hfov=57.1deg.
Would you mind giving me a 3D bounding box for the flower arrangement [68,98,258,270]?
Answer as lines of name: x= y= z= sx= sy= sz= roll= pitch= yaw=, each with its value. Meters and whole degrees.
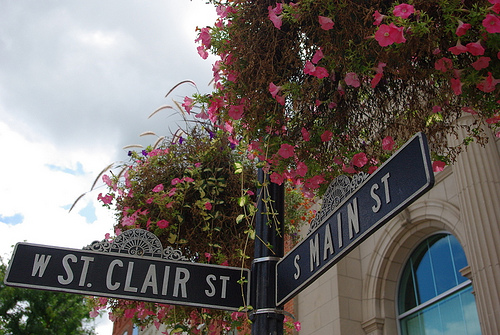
flower arrangement: x=-0.540 y=0.115 z=4.594 sx=1.507 sy=1.057 sz=1.071 roll=-20 pitch=-77 yaw=-9
